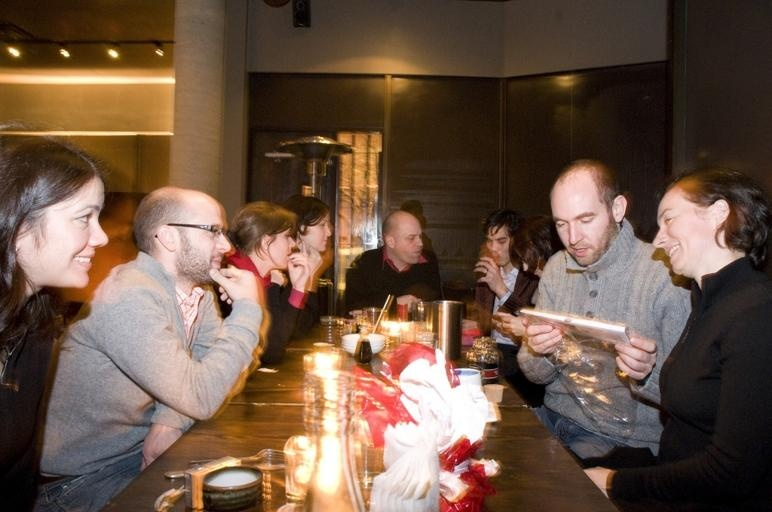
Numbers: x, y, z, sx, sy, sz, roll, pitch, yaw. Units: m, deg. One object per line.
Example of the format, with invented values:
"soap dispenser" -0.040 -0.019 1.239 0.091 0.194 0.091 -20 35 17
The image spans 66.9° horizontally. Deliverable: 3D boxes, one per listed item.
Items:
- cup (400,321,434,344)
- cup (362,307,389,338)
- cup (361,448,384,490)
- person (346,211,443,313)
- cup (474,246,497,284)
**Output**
"cup" 0.165 0.411 3.172 0.136 0.128 0.118 5 -7 -19
"cup" -0.068 0.395 3.554 0.139 0.152 0.136 2 7 0
"cup" -0.045 0.655 1.805 0.074 0.129 0.100 1 6 -1
"person" 0.067 0.027 4.776 0.787 0.770 0.551 1 6 -4
"cup" 0.760 0.070 4.451 0.122 0.351 0.273 -5 27 14
